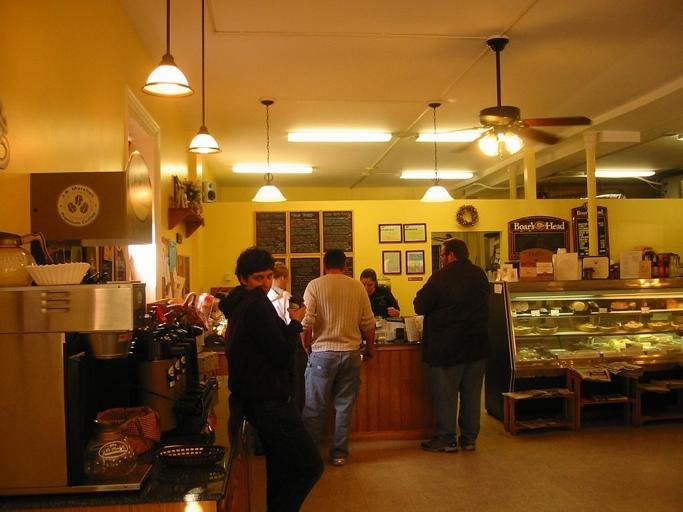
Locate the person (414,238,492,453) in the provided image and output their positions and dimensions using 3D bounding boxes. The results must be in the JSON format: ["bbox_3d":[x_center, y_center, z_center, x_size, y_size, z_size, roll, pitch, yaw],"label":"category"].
[{"bbox_3d":[1.011,0.812,5.535,0.690,1.909,0.464,-1,6,3],"label":"person"}]

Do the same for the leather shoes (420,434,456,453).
[{"bbox_3d":[0.888,1.716,5.502,0.325,0.139,0.123,1,-6,21],"label":"leather shoes"}]

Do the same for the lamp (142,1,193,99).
[{"bbox_3d":[-1.340,-1.636,4.595,0.338,0.859,1.146,-3,6,-15],"label":"lamp"}]

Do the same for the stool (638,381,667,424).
[{"bbox_3d":[3.212,1.533,6.184,0.344,0.354,0.367,-5,-13,25],"label":"stool"}]

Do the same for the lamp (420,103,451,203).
[{"bbox_3d":[1.213,-1.367,7.781,0.559,1.270,0.520,-7,19,-10],"label":"lamp"}]

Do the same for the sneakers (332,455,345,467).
[{"bbox_3d":[-0.025,1.753,5.133,0.071,0.066,0.161,1,-13,0],"label":"sneakers"}]

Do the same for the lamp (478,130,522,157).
[{"bbox_3d":[1.589,-1.124,6.056,0.404,0.206,0.412,0,5,10],"label":"lamp"}]

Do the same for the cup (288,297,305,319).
[{"bbox_3d":[-0.272,0.341,3.871,0.134,0.142,0.121,3,-9,-28],"label":"cup"}]

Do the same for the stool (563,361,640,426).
[{"bbox_3d":[2.628,1.424,6.215,0.910,0.555,0.789,2,-6,-17],"label":"stool"}]

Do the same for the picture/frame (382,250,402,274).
[{"bbox_3d":[0.806,0.104,9.904,0.433,0.463,0.037,1,-2,-1],"label":"picture/frame"}]

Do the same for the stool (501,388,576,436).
[{"bbox_3d":[1.952,1.514,6.077,0.686,0.393,0.569,-1,5,0],"label":"stool"}]
